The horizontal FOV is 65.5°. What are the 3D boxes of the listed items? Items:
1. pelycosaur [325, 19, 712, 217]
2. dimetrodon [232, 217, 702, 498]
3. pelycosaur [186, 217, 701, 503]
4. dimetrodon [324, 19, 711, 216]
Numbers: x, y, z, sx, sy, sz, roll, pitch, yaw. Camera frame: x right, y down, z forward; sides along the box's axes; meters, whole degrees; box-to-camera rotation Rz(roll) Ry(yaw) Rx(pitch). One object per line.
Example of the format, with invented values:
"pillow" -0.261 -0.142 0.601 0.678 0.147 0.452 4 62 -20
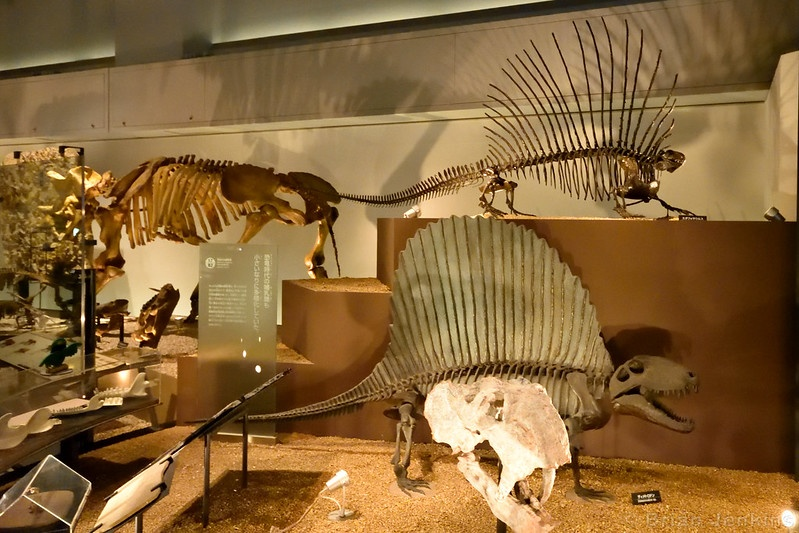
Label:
"pelycosaur" 1.029 -0.889 5.725 2.956 1.684 1.004 -8 -37 38
"dimetrodon" 0.505 0.300 4.765 2.993 1.785 1.028 2 2 17
"pelycosaur" 0.430 0.661 4.210 3.148 2.004 1.215 -1 27 -4
"dimetrodon" 1.421 -1.326 5.418 2.724 1.840 2.102 -1 11 4
